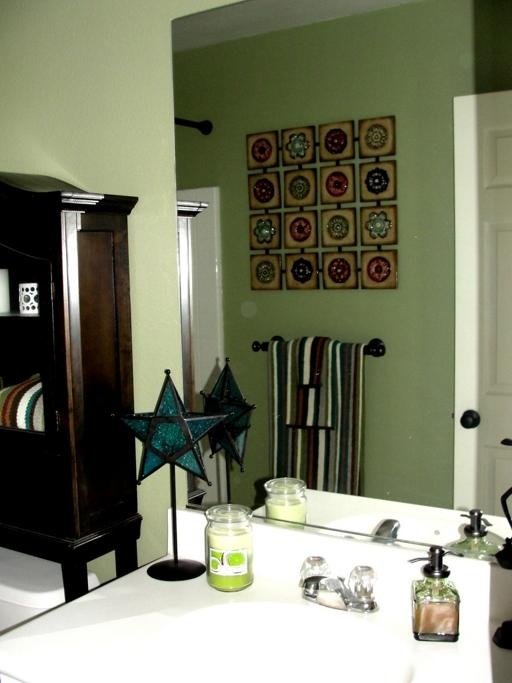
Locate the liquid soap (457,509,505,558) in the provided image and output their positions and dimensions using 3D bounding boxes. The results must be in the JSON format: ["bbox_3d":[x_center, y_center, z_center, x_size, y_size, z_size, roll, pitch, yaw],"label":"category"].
[{"bbox_3d":[0.363,0.318,1.052,0.075,0.049,0.075,4,17,30],"label":"liquid soap"}]

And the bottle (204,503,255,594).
[{"bbox_3d":[-0.047,0.367,1.142,0.088,0.130,0.084,1,-5,0],"label":"bottle"}]

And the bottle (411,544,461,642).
[{"bbox_3d":[0.271,0.361,0.980,0.067,0.137,0.124,-1,4,17],"label":"bottle"}]

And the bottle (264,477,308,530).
[{"bbox_3d":[0.057,0.318,1.261,0.078,0.077,0.075,-5,6,-34],"label":"bottle"}]
